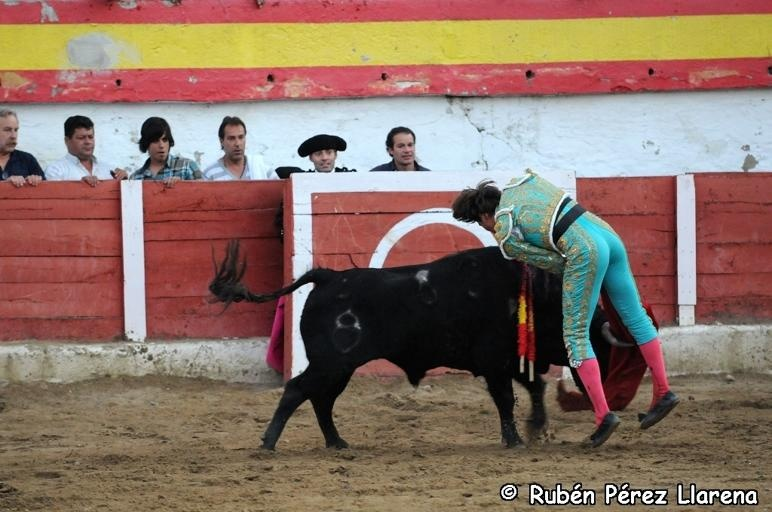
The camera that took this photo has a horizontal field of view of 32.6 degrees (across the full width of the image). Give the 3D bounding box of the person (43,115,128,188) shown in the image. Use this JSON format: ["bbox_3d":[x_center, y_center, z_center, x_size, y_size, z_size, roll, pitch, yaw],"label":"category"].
[{"bbox_3d":[-2.612,-0.910,11.450,0.666,0.606,0.600,-3,3,-14],"label":"person"}]

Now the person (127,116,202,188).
[{"bbox_3d":[-1.914,-0.857,11.455,0.820,0.565,0.381,-2,-5,16],"label":"person"}]

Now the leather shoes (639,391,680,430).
[{"bbox_3d":[1.934,1.133,9.656,0.372,0.133,0.130,-30,-6,-37],"label":"leather shoes"}]

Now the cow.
[{"bbox_3d":[0.160,0.669,9.862,3.804,1.393,0.980,2,1,-33],"label":"cow"}]

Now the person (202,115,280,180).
[{"bbox_3d":[-1.335,-0.971,11.943,0.833,0.538,0.338,-5,4,-21],"label":"person"}]

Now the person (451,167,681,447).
[{"bbox_3d":[1.337,0.378,9.666,1.482,2.030,0.362,-2,3,9],"label":"person"}]
